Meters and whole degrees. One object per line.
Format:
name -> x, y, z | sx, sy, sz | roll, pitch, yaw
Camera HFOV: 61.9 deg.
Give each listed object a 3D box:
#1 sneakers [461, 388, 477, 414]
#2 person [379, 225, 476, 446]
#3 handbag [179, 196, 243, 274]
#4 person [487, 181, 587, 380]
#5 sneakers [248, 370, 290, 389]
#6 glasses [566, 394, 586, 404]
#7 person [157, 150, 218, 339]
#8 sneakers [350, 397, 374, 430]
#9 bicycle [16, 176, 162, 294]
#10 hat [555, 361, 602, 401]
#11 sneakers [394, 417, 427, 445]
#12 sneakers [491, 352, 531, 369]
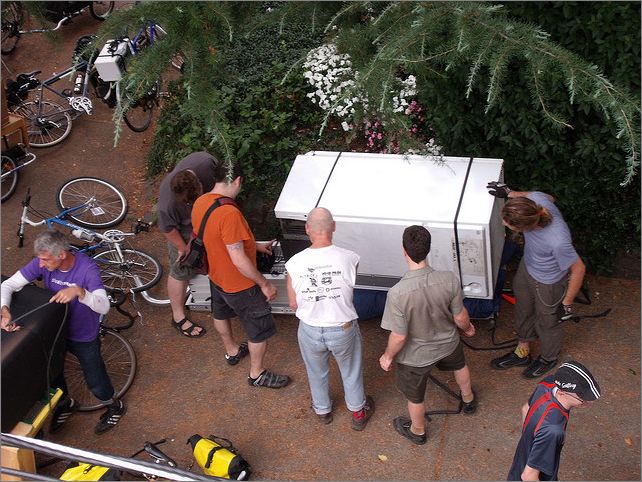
sneakers -> 1.506, 1.616, 5.424 | 0.113, 0.102, 0.251 | -1, 31, 14
person -> 0.965, 0.961, 4.816 | 0.790, 2.135, 0.716 | 26, 49, 33
handbag -> -1.063, -0.064, 5.217 | 0.598, 0.579, 0.387 | -46, 60, -1
person -> 2.086, 0.396, 5.358 | 0.681, 1.956, 1.042 | -10, 39, -5
sneakers -> -0.550, 1.514, 5.812 | 0.485, 0.184, 0.174 | -1, 19, 1
glasses -> 1.796, 1.123, 3.791 | 0.096, 0.087, 0.041 | 32, 46, -18
person -> -1.468, 0.123, 5.930 | 0.755, 2.288, 0.829 | 12, 58, -11
sneakers -> 0.435, 1.749, 5.394 | 0.148, 0.167, 0.369 | 14, 44, 25
bicycle -> -2.957, 0.041, 7.510 | 1.652, 1.180, 2.500 | -3, 26, -9
hat -> 1.823, 0.986, 3.800 | 0.330, 0.148, 0.236 | 28, 55, 21
sneakers -> 0.845, 1.859, 5.279 | 0.343, 0.130, 0.156 | 34, 50, 29
sneakers -> 2.009, 1.283, 5.733 | 0.412, 0.156, 0.150 | -2, 47, 6
